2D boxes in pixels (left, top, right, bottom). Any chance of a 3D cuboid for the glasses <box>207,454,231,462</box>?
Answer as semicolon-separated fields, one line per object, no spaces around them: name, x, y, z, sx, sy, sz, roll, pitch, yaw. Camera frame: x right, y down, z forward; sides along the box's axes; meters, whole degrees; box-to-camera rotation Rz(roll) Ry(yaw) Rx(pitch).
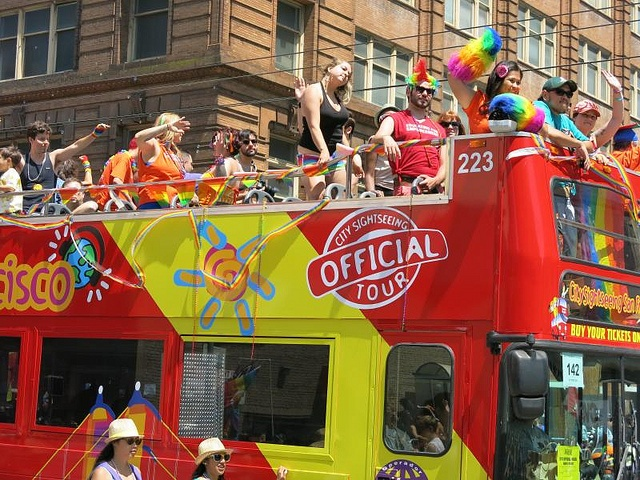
glasses;-1.156;2.432;15.297;0.240;0.107;0.078;4;-15;-14

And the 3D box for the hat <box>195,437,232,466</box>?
hat;-1.232;2.375;15.284;0.339;0.129;0.292;-30;-15;34

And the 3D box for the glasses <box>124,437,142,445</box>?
glasses;-2.160;2.247;15.410;0.123;0.041;0.126;17;-43;-36

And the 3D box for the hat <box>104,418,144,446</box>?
hat;-2.266;2.148;15.371;0.314;0.159;0.300;-7;-5;1

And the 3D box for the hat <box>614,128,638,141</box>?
hat;4.024;-1.385;17.951;0.215;0.126;0.193;4;-6;4
